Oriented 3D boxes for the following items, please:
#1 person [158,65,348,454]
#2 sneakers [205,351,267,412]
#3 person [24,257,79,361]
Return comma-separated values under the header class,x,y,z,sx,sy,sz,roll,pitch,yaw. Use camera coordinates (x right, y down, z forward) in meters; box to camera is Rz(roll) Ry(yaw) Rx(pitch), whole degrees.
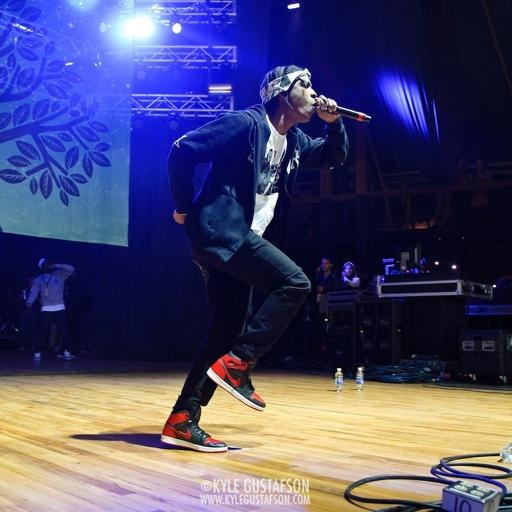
class,x,y,z,sx,sy,sz,roll,pitch,yaw
person,0.005,-0.037,1.765,0.671,1.436,0.376,2,-6,-10
sneakers,-0.068,0.428,1.614,0.197,0.197,0.161,2,-6,-8
person,-3.428,0.883,7.925,0.714,1.652,2.176,4,-7,-25
